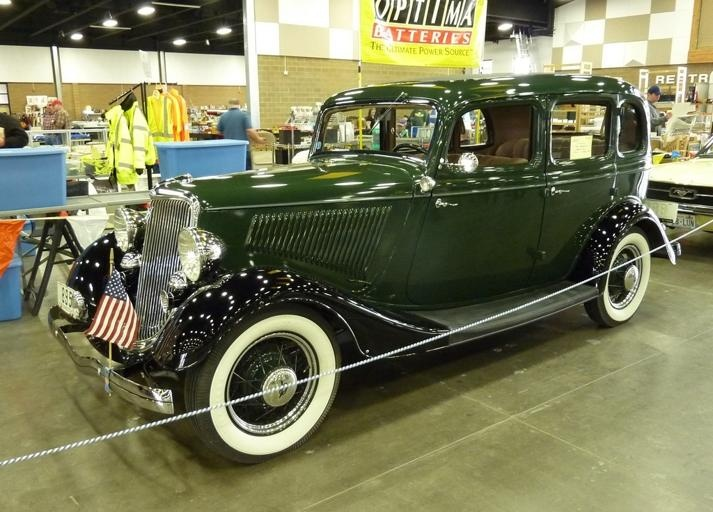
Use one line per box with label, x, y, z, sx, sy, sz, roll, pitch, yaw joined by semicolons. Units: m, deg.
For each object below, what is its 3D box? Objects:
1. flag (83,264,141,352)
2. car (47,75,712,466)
flag;-1.453;0.341;2.953;0.287;0.519;0.213;-10;17;-27
car;0.158;-0.190;3.674;4.255;2.174;1.506;-11;18;-31
